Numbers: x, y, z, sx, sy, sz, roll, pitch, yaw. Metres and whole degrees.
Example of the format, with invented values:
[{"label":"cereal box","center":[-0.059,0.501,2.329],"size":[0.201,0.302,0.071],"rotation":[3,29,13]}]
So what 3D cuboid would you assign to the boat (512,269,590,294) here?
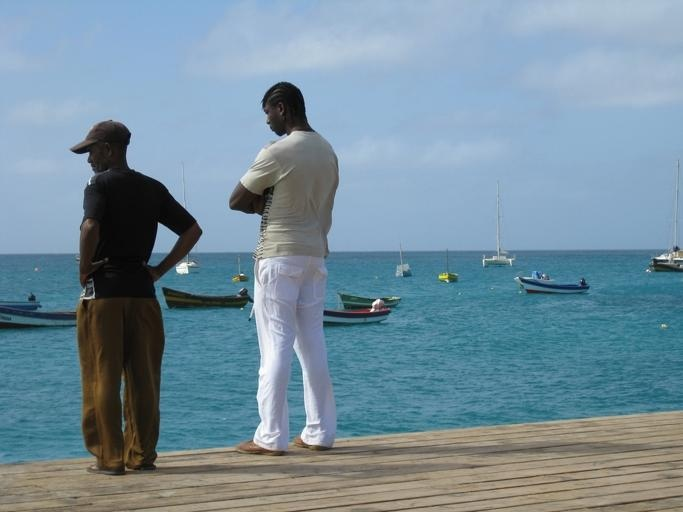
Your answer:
[{"label":"boat","center":[13.125,1.731,72.304],"size":[3.736,1.568,8.813],"rotation":[-4,-3,8]}]

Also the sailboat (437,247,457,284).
[{"label":"sailboat","center":[13.674,1.362,149.328],"size":[1.761,3.402,3.417],"rotation":[2,-1,14]}]

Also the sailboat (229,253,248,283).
[{"label":"sailboat","center":[-13.649,1.498,149.455],"size":[1.435,2.899,2.930],"rotation":[0,-2,-16]}]

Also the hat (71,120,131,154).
[{"label":"hat","center":[-2.950,-1.480,14.294],"size":[0.822,0.381,0.478],"rotation":[0,-8,18]}]
